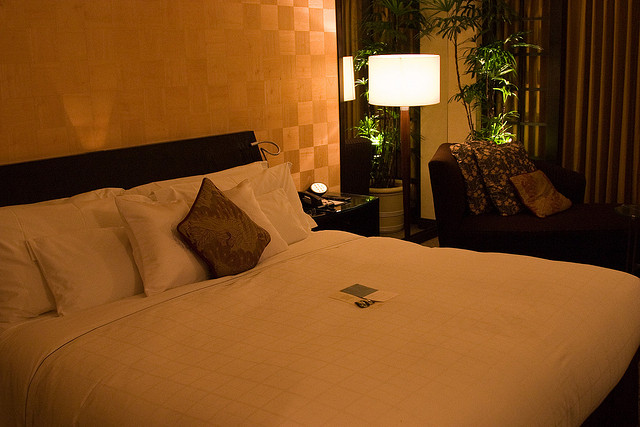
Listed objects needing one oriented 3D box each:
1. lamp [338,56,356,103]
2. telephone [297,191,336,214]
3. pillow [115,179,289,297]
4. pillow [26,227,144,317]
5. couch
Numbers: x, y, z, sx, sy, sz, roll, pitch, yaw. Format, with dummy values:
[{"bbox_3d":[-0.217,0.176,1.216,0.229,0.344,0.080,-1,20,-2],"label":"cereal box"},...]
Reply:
[{"bbox_3d":[0.307,-1.437,4.729,0.100,0.439,0.374,0,17,15],"label":"lamp"},{"bbox_3d":[-0.034,-0.091,3.949,0.246,0.102,0.189,8,23,27],"label":"telephone"},{"bbox_3d":[-0.752,0.098,2.745,0.797,0.539,0.350,-15,20,-33],"label":"pillow"},{"bbox_3d":[-1.250,0.299,2.439,0.502,0.444,0.145,-17,-3,-42],"label":"pillow"},{"bbox_3d":[1.902,-0.073,4.141,1.501,1.024,1.108,3,21,24],"label":"couch"}]
